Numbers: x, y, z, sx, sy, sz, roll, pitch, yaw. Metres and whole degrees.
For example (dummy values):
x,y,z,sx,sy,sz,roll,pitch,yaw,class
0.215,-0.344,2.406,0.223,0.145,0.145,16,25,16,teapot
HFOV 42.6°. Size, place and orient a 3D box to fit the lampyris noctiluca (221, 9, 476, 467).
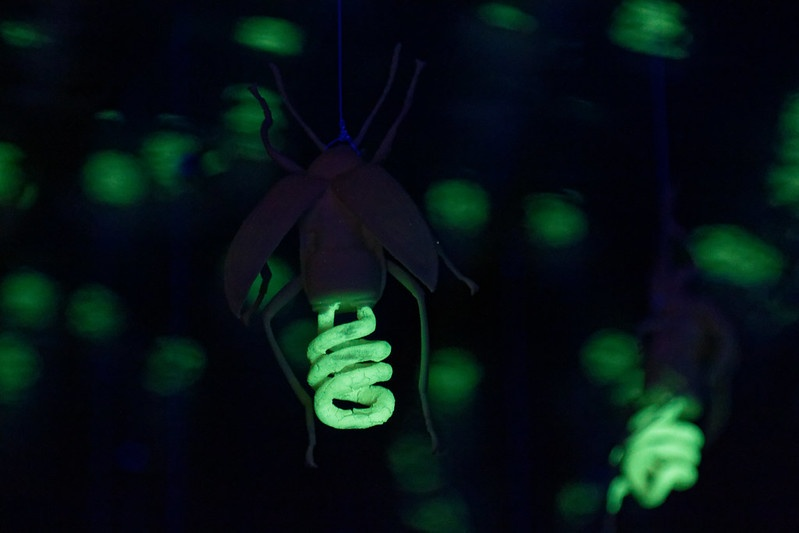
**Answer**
x,y,z,sx,sy,sz,roll,pitch,yaw,class
-0.062,-0.081,1.574,0.361,0.741,0.284,1,-22,2,lampyris noctiluca
